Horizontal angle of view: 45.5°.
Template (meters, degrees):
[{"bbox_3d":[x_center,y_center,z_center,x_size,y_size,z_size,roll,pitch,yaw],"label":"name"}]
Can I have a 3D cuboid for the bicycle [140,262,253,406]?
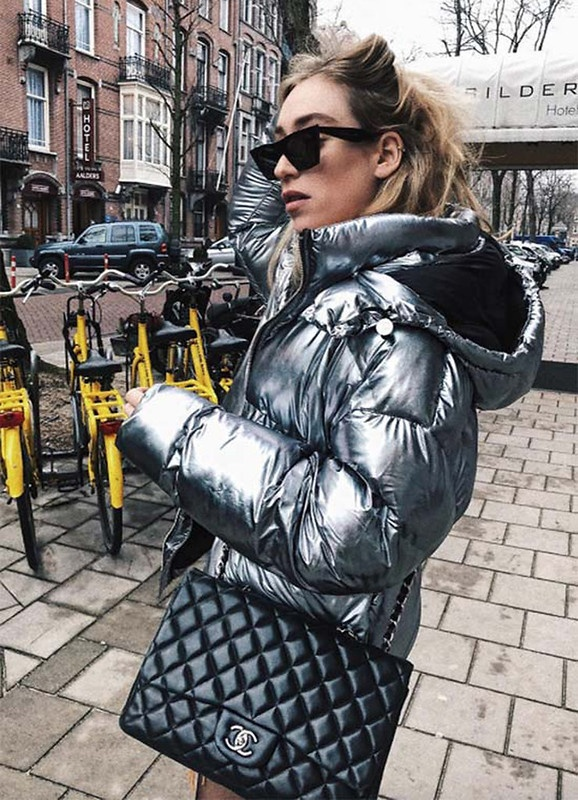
[{"bbox_3d":[-0.753,-0.474,5.266,0.822,0.769,1.272,0,32,-30],"label":"bicycle"}]

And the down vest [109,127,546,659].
[{"bbox_3d":[0.098,-0.033,1.074,0.452,0.530,0.555,11,16,36],"label":"down vest"}]

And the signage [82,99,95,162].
[{"bbox_3d":[-8.189,-10.857,28.067,0.625,2.447,0.269,7,15,21],"label":"signage"}]
